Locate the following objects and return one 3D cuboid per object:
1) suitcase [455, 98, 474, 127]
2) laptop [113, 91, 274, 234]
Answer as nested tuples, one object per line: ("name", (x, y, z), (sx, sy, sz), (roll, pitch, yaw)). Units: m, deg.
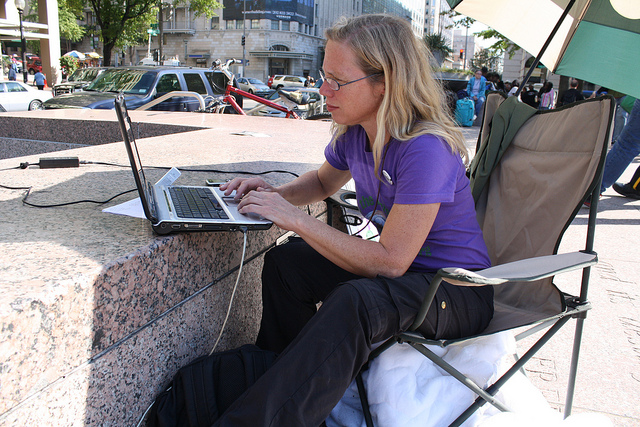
("suitcase", (3.950, -2.644, 12.443), (0.521, 0.873, 0.490), (6, -20, 8))
("laptop", (-0.532, -0.224, 1.848), (0.521, 0.474, 0.624), (-7, 23, -24))
